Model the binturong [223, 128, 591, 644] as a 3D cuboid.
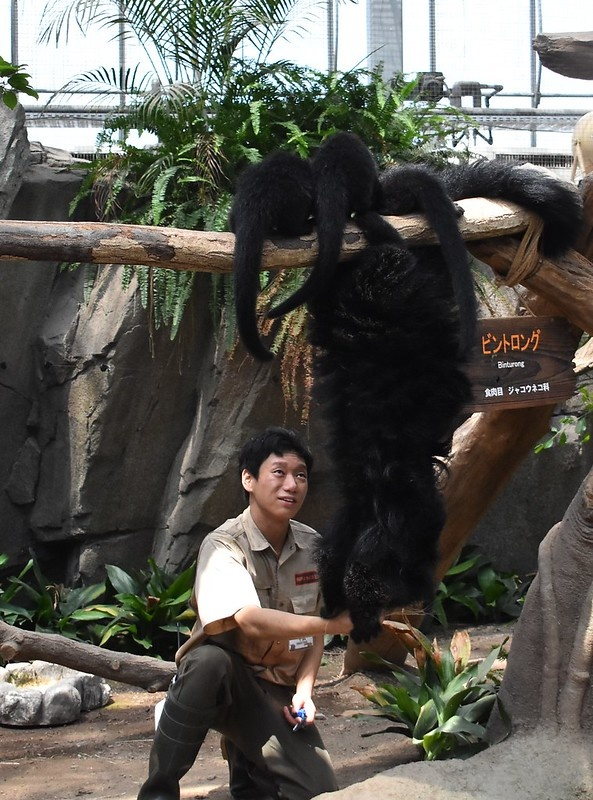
[{"bbox_3d":[0.201,-0.057,1.541,0.416,0.839,0.610,0,-13,37],"label":"binturong"}]
